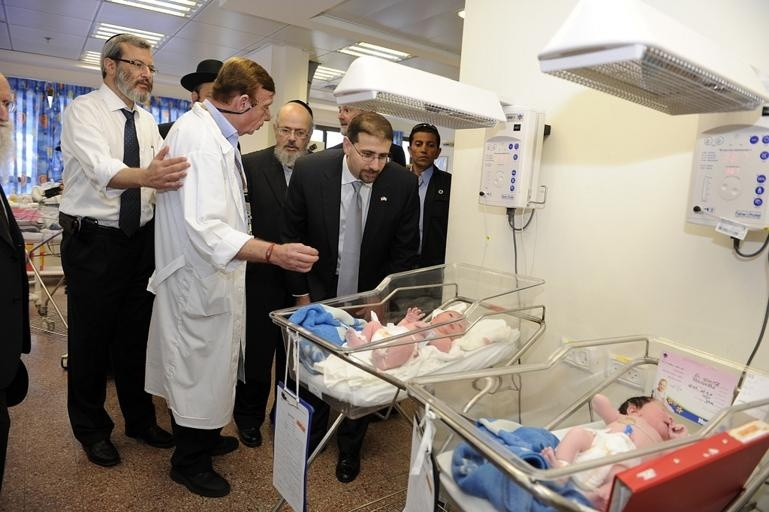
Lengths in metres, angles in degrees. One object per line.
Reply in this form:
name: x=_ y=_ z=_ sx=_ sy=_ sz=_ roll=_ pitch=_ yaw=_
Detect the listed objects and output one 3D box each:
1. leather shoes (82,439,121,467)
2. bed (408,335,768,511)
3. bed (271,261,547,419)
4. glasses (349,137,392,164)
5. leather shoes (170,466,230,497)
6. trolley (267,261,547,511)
leather shoes: x=-1.550 y=1.064 z=2.804 sx=0.248 sy=0.103 sz=0.100 roll=4 pitch=4 yaw=42
bed: x=0.663 y=0.536 z=1.674 sx=0.913 sy=0.303 sz=0.597 roll=3 pitch=12 yaw=-28
bed: x=0.344 y=0.403 z=2.508 sx=0.787 sy=0.430 sz=0.277 roll=16 pitch=23 yaw=9
glasses: x=-0.093 y=-0.536 z=2.612 sx=0.127 sy=0.041 sz=0.132 roll=2 pitch=24 yaw=-33
leather shoes: x=-0.919 y=1.145 z=2.591 sx=0.267 sy=0.111 sz=0.132 roll=15 pitch=9 yaw=4
trolley: x=0.233 y=0.350 z=2.251 sx=1.330 sy=0.859 sz=0.760 roll=-6 pitch=13 yaw=-27
